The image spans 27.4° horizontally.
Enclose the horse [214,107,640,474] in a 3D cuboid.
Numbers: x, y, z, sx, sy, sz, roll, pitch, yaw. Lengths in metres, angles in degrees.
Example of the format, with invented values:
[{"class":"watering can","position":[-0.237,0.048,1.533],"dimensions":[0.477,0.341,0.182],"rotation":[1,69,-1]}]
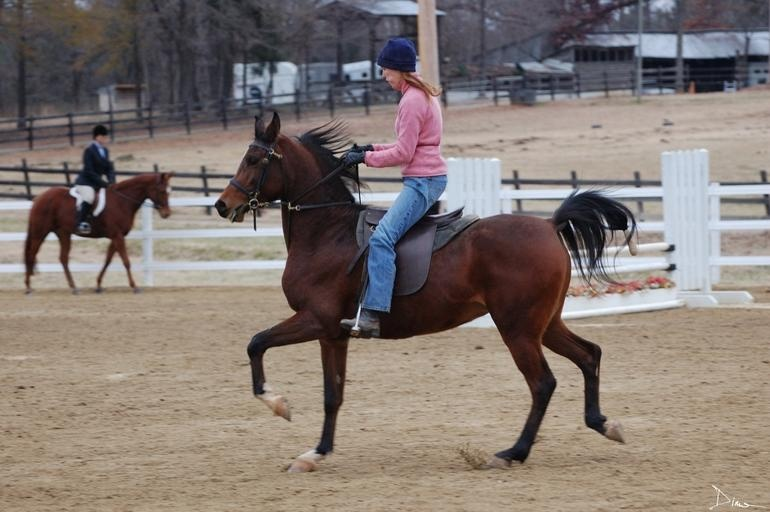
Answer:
[{"class":"horse","position":[0.967,0.714,24.546],"dimensions":[8.375,5.452,2.039],"rotation":[1,-4,28]}]

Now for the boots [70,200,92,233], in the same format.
[{"class":"boots","position":[-5.791,-0.739,30.556],"dimensions":[0.320,0.681,0.292],"rotation":[-6,9,-18]}]

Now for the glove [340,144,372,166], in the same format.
[{"class":"glove","position":[-0.414,-1.561,24.168],"dimensions":[0.397,0.318,0.136],"rotation":[-43,11,11]}]

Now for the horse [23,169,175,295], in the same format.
[{"class":"horse","position":[-5.532,-0.455,30.959],"dimensions":[3.453,2.302,0.797],"rotation":[0,-1,23]}]

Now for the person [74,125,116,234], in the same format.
[{"class":"person","position":[-5.616,-1.463,30.632],"dimensions":[0.794,2.124,0.602],"rotation":[-4,9,-8]}]
